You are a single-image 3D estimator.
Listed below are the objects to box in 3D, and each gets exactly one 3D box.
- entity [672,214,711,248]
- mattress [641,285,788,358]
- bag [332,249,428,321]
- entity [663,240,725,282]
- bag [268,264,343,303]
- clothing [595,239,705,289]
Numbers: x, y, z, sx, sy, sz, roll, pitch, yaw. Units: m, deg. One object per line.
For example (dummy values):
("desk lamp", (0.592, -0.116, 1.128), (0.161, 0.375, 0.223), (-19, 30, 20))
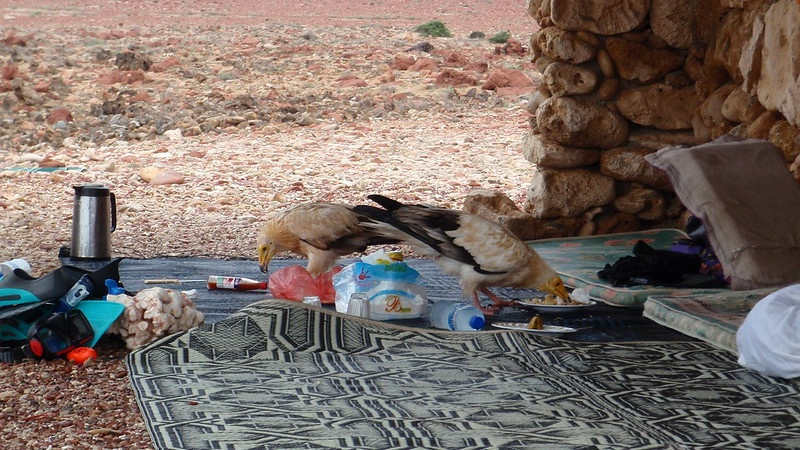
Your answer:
("entity", (3.072, 0.059, 8.986), (0.184, 0.310, 0.327), (-34, 7, -12))
("mattress", (2.866, 0.881, 8.191), (0.992, 0.137, 0.851), (-7, 17, -33))
("bag", (0.045, 0.565, 8.262), (0.943, 0.411, 0.632), (0, 17, 36))
("entity", (3.052, 0.369, 9.088), (0.638, 0.161, 0.428), (17, 35, 24))
("bag", (-0.939, 0.561, 8.481), (0.736, 0.165, 0.422), (6, 8, 13))
("clothing", (2.660, 0.399, 9.260), (1.280, 0.207, 1.064), (7, -4, 29))
